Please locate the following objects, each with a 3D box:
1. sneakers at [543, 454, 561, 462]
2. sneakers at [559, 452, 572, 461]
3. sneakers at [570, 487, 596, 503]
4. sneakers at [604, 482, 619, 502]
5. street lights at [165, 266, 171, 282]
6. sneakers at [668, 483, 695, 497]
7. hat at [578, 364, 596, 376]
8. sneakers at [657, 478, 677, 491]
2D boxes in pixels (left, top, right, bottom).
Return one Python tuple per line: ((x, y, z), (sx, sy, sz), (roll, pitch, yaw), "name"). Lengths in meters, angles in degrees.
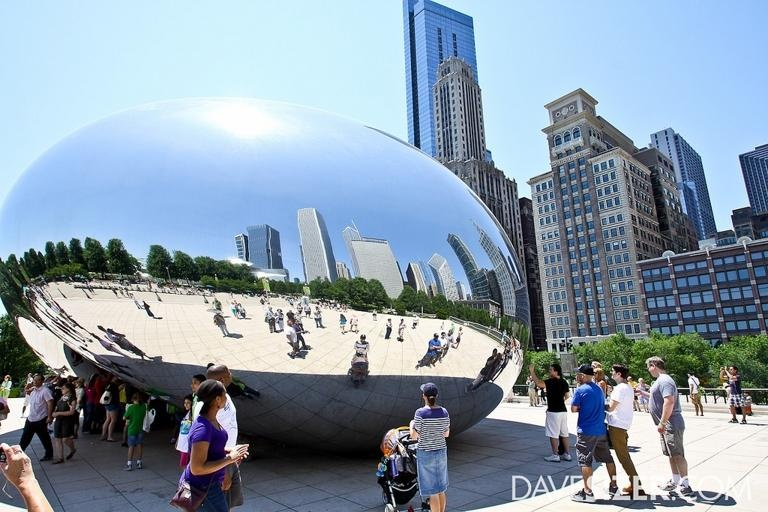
((3.864, 4.625, 9.218), (0.352, 0.155, 0.143), (-2, -8, 20), "sneakers")
((4.187, 4.603, 9.294), (0.137, 0.150, 0.348), (1, -4, -31), "sneakers")
((3.490, 4.168, 7.038), (0.428, 0.202, 0.185), (-5, -17, 20), "sneakers")
((4.084, 4.166, 7.148), (0.129, 0.261, 0.390), (4, -18, 2), "sneakers")
((-4.063, 0.321, 7.540), (0.070, 0.248, 0.061), (-2, -12, 8), "street lights")
((5.344, 4.149, 7.186), (0.166, 0.205, 0.434), (11, -15, -38), "sneakers")
((3.715, 2.067, 7.376), (0.195, 0.164, 0.273), (3, 8, -21), "hat")
((5.171, 4.121, 7.262), (0.444, 0.209, 0.164), (7, -18, -10), "sneakers")
